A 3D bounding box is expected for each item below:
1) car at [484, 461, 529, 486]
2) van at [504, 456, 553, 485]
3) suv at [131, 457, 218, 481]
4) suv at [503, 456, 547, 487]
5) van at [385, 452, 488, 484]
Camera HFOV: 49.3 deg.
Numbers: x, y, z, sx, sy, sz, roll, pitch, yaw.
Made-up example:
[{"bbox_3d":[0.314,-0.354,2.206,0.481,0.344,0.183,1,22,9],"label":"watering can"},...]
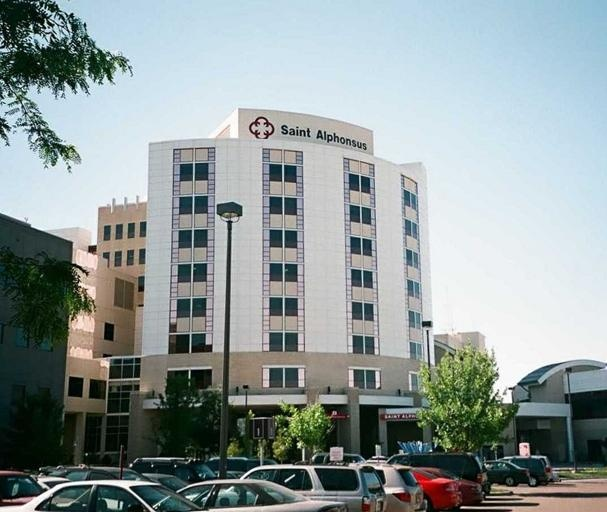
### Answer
[{"bbox_3d":[14.680,15.737,47.884,3.172,1.048,1.490,2,-10,15],"label":"car"},{"bbox_3d":[16.804,15.728,48.722,2.977,1.270,1.664,1,-15,8],"label":"van"},{"bbox_3d":[-5.306,8.737,27.360,3.077,1.167,1.513,-7,-9,16],"label":"suv"},{"bbox_3d":[16.579,15.694,48.600,2.708,1.295,1.517,2,-13,8],"label":"suv"},{"bbox_3d":[6.073,9.912,30.189,3.933,1.567,1.867,-1,-14,20],"label":"van"}]
